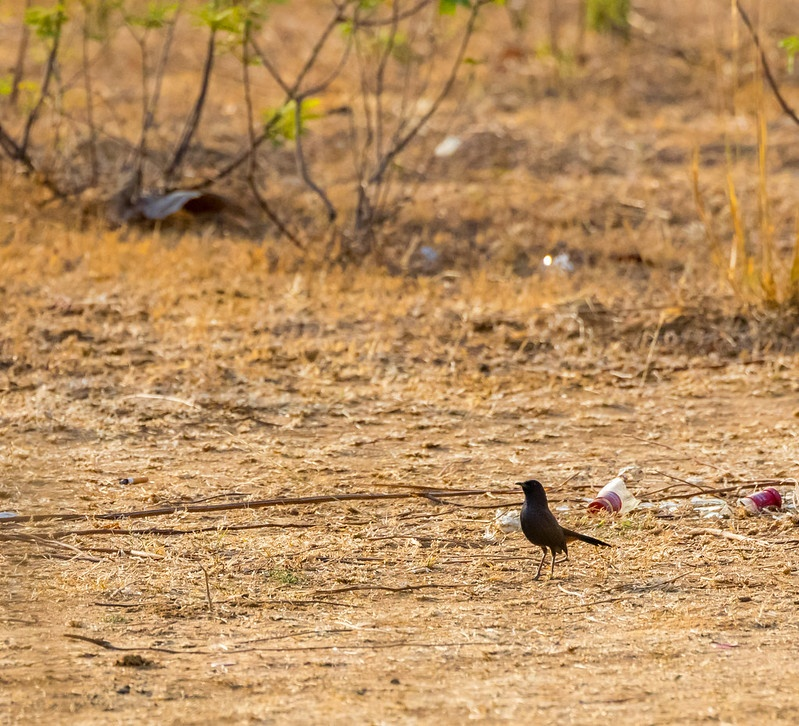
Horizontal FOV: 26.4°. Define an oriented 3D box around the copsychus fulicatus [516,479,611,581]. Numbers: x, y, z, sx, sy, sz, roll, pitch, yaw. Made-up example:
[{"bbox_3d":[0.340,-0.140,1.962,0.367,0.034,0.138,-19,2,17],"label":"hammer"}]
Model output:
[{"bbox_3d":[0.863,0.943,9.467,0.444,0.540,0.405,6,-7,-35],"label":"copsychus fulicatus"}]
